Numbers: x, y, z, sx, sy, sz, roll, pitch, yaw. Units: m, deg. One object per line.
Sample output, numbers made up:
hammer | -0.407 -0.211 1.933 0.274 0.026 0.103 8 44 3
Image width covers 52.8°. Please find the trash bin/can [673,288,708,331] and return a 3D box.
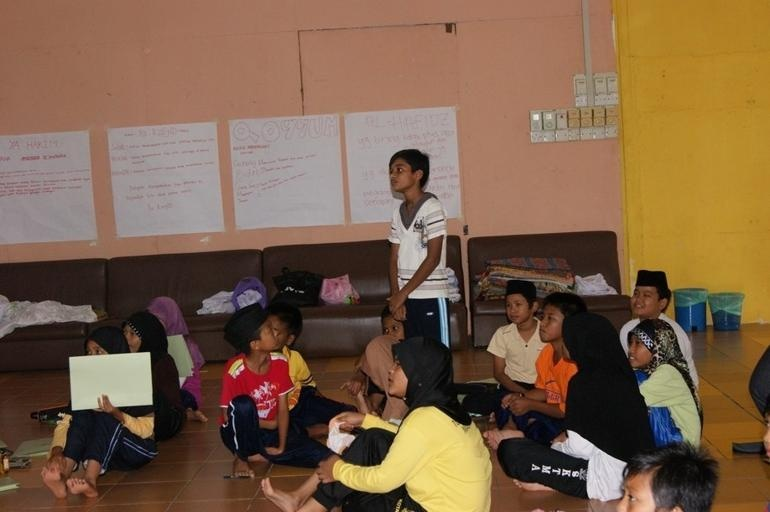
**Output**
trash bin/can | 2.998 0.527 7.539 0.359 0.416 0.372 0 -4 -1

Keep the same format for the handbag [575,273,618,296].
handbag | 1.985 0.284 7.347 0.259 0.074 0.258 0 13 -7

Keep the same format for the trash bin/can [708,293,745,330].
trash bin/can | 3.297 0.550 7.654 0.337 0.359 0.338 1 -12 -3

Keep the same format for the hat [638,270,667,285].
hat | 1.994 0.164 5.747 0.143 0.090 0.145 4 1 34

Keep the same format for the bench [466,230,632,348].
bench | 1.563 0.345 7.453 1.469 1.071 0.804 -2 8 4

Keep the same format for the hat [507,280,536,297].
hat | 1.002 0.235 5.682 0.148 0.090 0.149 3 0 10
